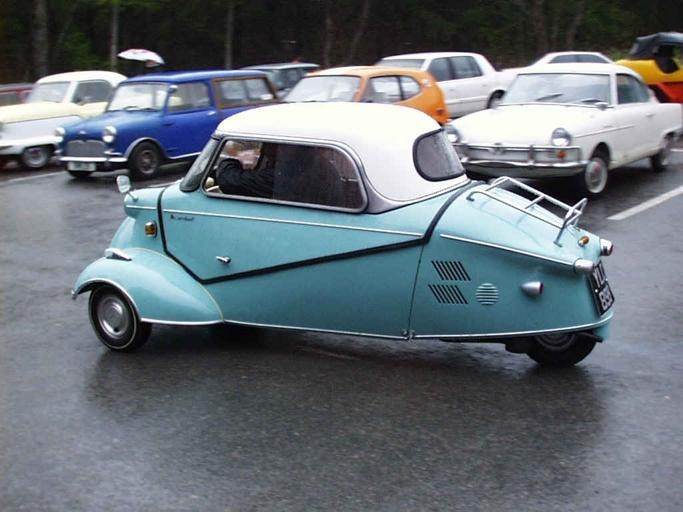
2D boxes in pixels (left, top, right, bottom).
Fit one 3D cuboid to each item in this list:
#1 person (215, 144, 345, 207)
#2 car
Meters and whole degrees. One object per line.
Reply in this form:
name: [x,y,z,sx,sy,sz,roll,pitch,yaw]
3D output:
person: [-0.457,-0.704,5.246,1.294,0.475,0.374,9,18,22]
car: [-0.024,-0.396,5.610,5.125,1.934,2.029,3,14,20]
